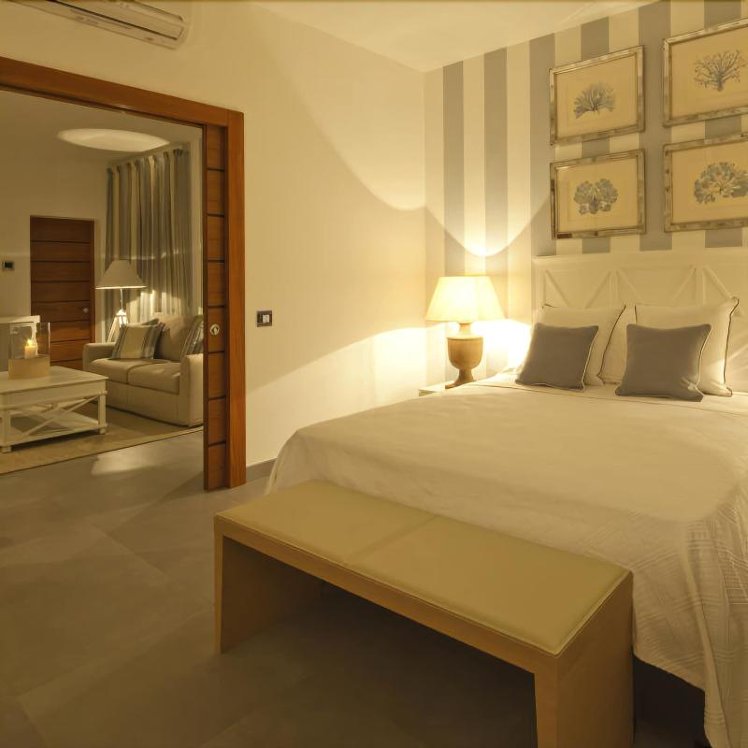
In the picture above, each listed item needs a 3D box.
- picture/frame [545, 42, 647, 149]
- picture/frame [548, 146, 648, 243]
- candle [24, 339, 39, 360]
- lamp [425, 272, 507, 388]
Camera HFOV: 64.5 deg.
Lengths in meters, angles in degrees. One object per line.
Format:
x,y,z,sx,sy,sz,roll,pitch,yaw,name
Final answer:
1.407,-1.746,3.693,0.679,0.681,0.071,2,4,43,picture/frame
1.436,-1.136,3.732,0.588,0.615,0.062,2,3,43,picture/frame
-2.605,-0.196,4.490,0.101,0.156,0.078,-6,10,-41,candle
0.606,-0.277,4.338,0.621,0.983,0.647,-1,0,-22,lamp
